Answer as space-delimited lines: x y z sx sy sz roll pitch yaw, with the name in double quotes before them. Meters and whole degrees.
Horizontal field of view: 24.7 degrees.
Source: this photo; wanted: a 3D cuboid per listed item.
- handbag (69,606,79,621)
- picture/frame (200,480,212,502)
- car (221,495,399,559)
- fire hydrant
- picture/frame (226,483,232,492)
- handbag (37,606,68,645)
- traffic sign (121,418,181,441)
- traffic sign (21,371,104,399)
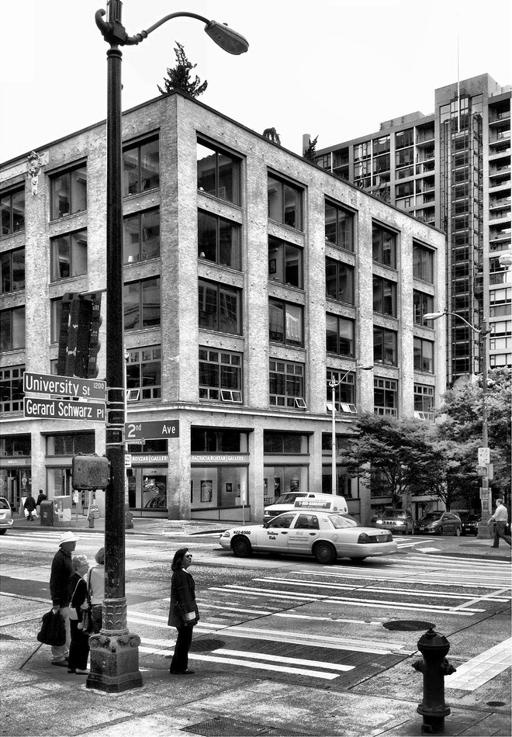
"handbag" -2.334 3.127 14.890 0.099 0.103 0.135 0 -19 -3
"picture/frame" -2.005 4.842 46.313 0.059 0.835 0.791 -4 -9 21
"car" 1.806 3.926 28.226 3.618 1.244 4.066 -11 -11 38
"fire hydrant" 1.923 3.340 12.531 0.391 1.054 0.318 -3 -9 10
"picture/frame" -1.124 4.894 48.063 0.305 0.336 0.325 0 -3 6
"handbag" -2.644 3.352 15.083 0.362 0.485 0.354 1 -10 -12
"traffic sign" -3.654 2.180 41.577 1.420 0.554 0.018 -9 -10 41
"traffic sign" -2.368 0.220 14.380 0.573 0.347 0.843 -9 -11 38
